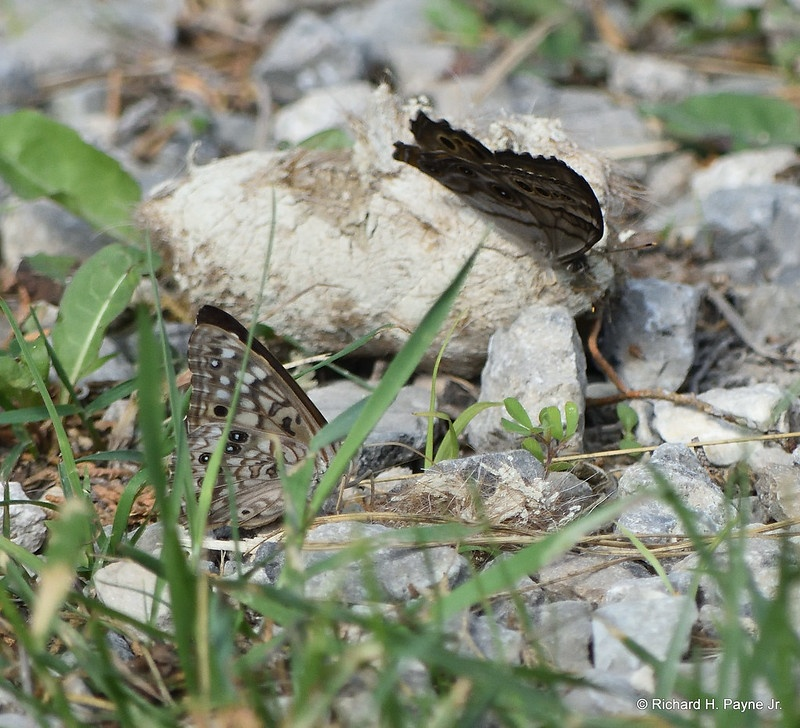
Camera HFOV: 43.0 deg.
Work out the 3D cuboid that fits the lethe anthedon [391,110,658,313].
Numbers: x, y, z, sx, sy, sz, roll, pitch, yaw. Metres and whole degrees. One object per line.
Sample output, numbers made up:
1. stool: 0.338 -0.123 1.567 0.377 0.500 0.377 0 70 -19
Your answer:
1. lethe anthedon: 0.240 -0.325 2.191 0.413 0.443 0.169 17 87 45
